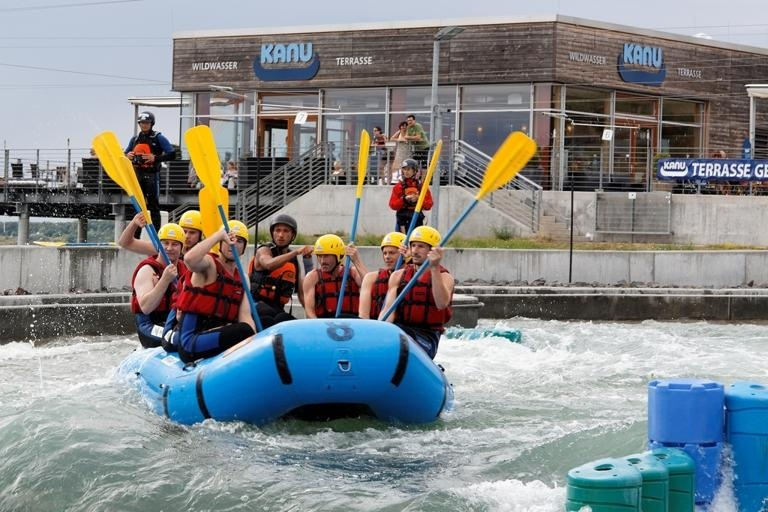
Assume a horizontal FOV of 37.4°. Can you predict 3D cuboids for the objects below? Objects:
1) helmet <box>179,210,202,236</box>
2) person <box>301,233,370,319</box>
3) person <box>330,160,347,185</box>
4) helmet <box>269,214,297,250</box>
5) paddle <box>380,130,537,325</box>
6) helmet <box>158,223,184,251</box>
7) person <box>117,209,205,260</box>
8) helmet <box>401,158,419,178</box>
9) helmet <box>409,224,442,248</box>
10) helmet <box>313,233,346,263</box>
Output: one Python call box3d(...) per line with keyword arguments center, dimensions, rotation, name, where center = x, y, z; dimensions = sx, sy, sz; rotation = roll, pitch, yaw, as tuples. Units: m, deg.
box3d(center=(-2.771, -0.492, 16.358), dimensions=(0.246, 0.269, 0.324), rotation=(8, -12, -15), name="helmet")
box3d(center=(-0.755, 0.335, 16.968), dimensions=(1.222, 1.594, 1.111), rotation=(-1, -12, 4), name="person")
box3d(center=(-1.174, -2.169, 29.756), dimensions=(0.580, 0.932, 0.556), rotation=(-2, 7, -3), name="person")
box3d(center=(-1.453, -0.362, 16.864), dimensions=(0.404, 0.495, 0.481), rotation=(3, -12, -3), name="helmet")
box3d(center=(1.515, -0.486, 22.443), dimensions=(0.864, 5.738, 0.230), rotation=(45, 15, 3), name="paddle")
box3d(center=(-3.054, -0.286, 16.420), dimensions=(0.265, 0.281, 0.337), rotation=(2, -27, -3), name="helmet")
box3d(center=(-3.187, -0.353, 16.420), dimensions=(1.035, 0.635, 0.719), rotation=(-3, 6, -17), name="person")
box3d(center=(0.474, -1.602, 20.681), dimensions=(0.283, 0.278, 0.334), rotation=(-2, -5, 14), name="helmet")
box3d(center=(0.595, -0.275, 16.007), dimensions=(0.422, 0.286, 0.431), rotation=(0, 1, -2), name="helmet")
box3d(center=(-0.757, -0.142, 16.685), dimensions=(0.322, 0.329, 0.452), rotation=(11, 17, 43), name="helmet")
